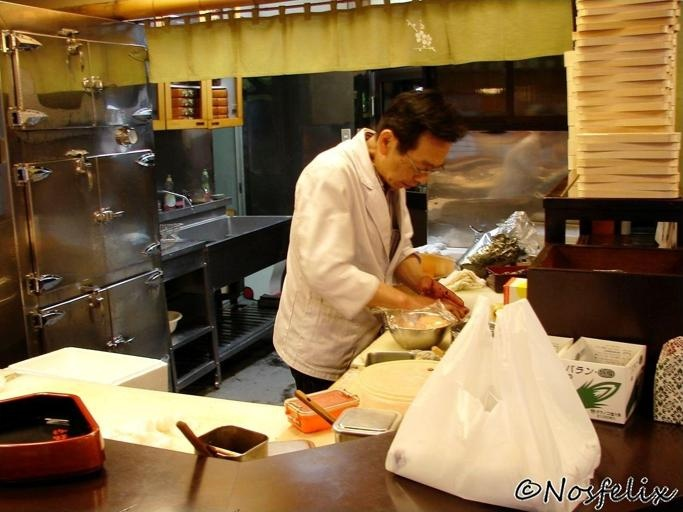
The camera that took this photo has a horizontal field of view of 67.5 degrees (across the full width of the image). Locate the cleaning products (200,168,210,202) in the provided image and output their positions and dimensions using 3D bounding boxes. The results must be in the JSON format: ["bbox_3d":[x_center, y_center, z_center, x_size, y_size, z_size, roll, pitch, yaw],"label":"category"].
[{"bbox_3d":[-1.602,-0.834,5.993,0.109,0.362,0.392,-3,12,-14],"label":"cleaning products"}]

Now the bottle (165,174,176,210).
[{"bbox_3d":[-1.865,-0.698,5.487,0.115,0.358,0.388,-4,12,-17],"label":"bottle"}]

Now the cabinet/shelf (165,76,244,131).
[{"bbox_3d":[-1.313,-1.549,5.118,1.050,0.429,0.265,8,22,26],"label":"cabinet/shelf"}]

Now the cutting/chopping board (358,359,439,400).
[{"bbox_3d":[0.153,0.379,1.557,0.204,0.050,0.246,4,11,21],"label":"cutting/chopping board"}]

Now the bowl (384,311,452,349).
[{"bbox_3d":[0.319,0.322,2.150,0.289,0.140,0.225,1,11,8],"label":"bowl"}]

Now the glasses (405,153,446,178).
[{"bbox_3d":[0.340,-0.356,2.131,0.120,0.115,0.034,-21,-24,-37],"label":"glasses"}]

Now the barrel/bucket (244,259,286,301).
[{"bbox_3d":[-0.881,0.265,5.820,0.552,0.500,0.291,14,27,9],"label":"barrel/bucket"}]

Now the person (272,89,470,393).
[{"bbox_3d":[0.113,-0.027,2.338,0.806,1.373,0.605,-4,13,-17],"label":"person"}]
